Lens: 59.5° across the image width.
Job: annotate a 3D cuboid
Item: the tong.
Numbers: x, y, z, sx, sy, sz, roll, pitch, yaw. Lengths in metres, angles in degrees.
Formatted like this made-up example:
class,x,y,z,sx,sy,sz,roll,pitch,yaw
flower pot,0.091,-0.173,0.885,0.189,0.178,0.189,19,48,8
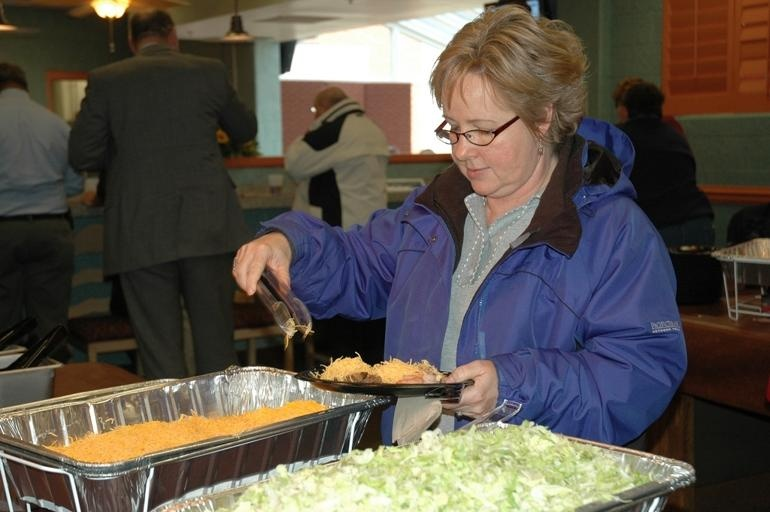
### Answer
class,x,y,z,sx,sy,sz,roll,pitch,yaw
tong,-0.253,0.127,1.685,0.103,0.150,0.250,-8,11,-19

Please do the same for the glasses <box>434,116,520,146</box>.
class,x,y,z,sx,sy,sz,roll,pitch,yaw
glasses,0.226,-0.299,1.693,0.119,0.035,0.116,-30,30,-32

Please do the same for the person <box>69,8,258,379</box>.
class,x,y,z,sx,sy,sz,roll,pitch,yaw
person,-1.068,-0.260,3.363,0.854,1.809,0.293,-9,11,-23
